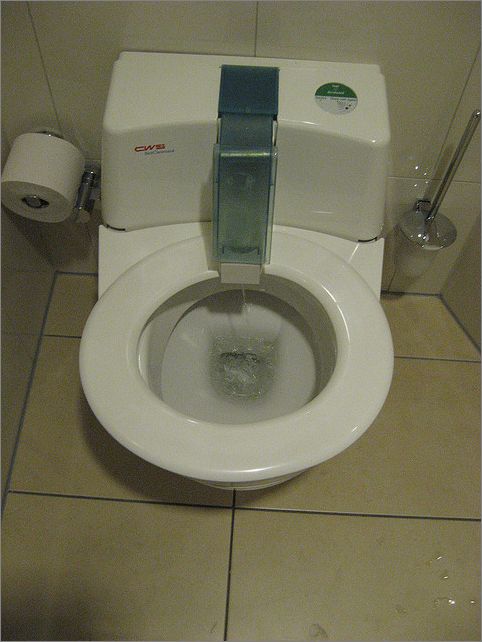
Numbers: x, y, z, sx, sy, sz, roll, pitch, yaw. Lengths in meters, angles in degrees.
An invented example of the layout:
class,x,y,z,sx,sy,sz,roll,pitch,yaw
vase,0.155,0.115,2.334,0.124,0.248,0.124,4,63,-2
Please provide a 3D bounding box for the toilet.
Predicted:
class,x,y,z,sx,sy,sz,roll,pitch,yaw
toilet,-0.008,-0.044,0.817,0.435,0.537,0.571,-2,57,-7
